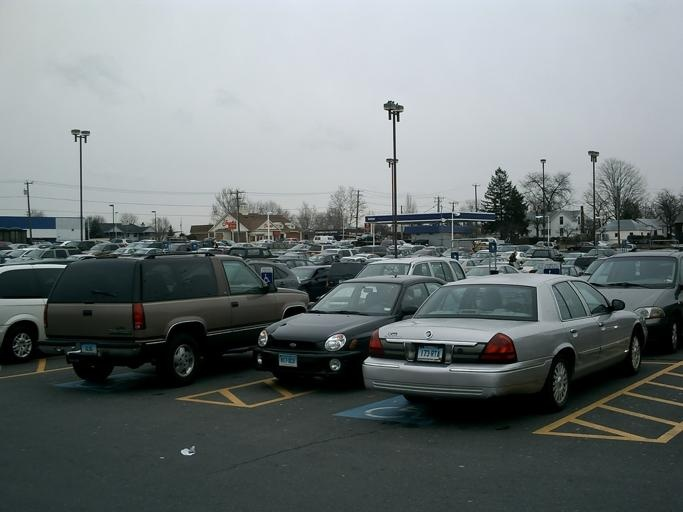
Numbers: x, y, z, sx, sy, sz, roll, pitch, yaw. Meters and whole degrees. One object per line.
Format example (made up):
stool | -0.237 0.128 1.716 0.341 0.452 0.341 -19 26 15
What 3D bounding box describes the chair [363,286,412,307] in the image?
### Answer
chair | 0.760 0.724 10.453 0.386 0.280 0.638 4 5 27
